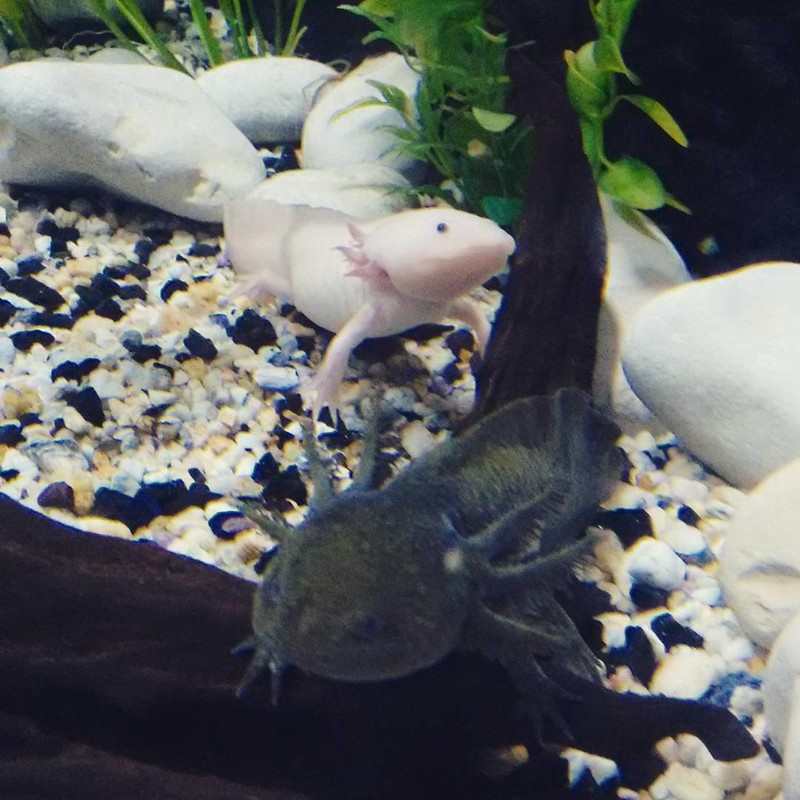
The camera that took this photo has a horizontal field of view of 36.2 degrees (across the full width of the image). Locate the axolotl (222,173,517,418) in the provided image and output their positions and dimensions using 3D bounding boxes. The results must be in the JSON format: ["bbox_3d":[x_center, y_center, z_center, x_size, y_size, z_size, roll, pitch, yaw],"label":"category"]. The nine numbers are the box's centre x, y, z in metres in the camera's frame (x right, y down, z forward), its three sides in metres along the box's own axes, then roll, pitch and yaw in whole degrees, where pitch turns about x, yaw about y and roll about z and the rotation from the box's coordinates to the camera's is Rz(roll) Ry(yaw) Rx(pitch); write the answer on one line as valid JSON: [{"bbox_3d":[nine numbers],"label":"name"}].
[{"bbox_3d":[-0.083,-0.180,2.108,0.367,0.204,0.492,-15,20,-36],"label":"axolotl"}]

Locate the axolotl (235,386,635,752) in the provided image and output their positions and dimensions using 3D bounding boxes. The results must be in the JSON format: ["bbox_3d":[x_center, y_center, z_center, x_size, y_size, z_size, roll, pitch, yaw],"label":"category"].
[{"bbox_3d":[0.080,0.193,1.621,0.382,0.146,0.444,11,42,18],"label":"axolotl"}]
